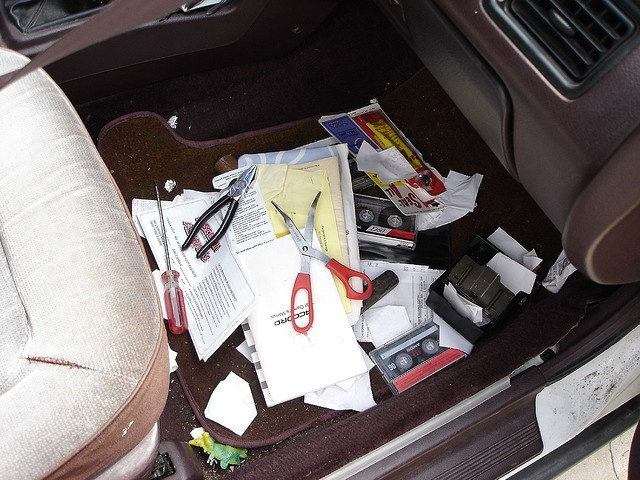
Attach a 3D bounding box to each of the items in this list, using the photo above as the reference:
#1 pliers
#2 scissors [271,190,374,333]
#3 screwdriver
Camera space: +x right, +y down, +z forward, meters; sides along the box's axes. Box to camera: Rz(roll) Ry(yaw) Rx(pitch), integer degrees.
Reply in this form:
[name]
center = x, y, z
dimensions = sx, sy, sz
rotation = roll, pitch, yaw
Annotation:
[pliers]
center = -0.213, -0.076, 1.075
dimensions = 0.031, 0.074, 0.254
rotation = 41, 99, 23
[scissors]
center = 0.003, 0.032, 1.037
dimensions = 0.175, 0.059, 0.293
rotation = -9, 66, -9
[screwdriver]
center = -0.326, 0.026, 1.063
dimensions = 0.044, 0.044, 0.345
rotation = -14, 74, 20
